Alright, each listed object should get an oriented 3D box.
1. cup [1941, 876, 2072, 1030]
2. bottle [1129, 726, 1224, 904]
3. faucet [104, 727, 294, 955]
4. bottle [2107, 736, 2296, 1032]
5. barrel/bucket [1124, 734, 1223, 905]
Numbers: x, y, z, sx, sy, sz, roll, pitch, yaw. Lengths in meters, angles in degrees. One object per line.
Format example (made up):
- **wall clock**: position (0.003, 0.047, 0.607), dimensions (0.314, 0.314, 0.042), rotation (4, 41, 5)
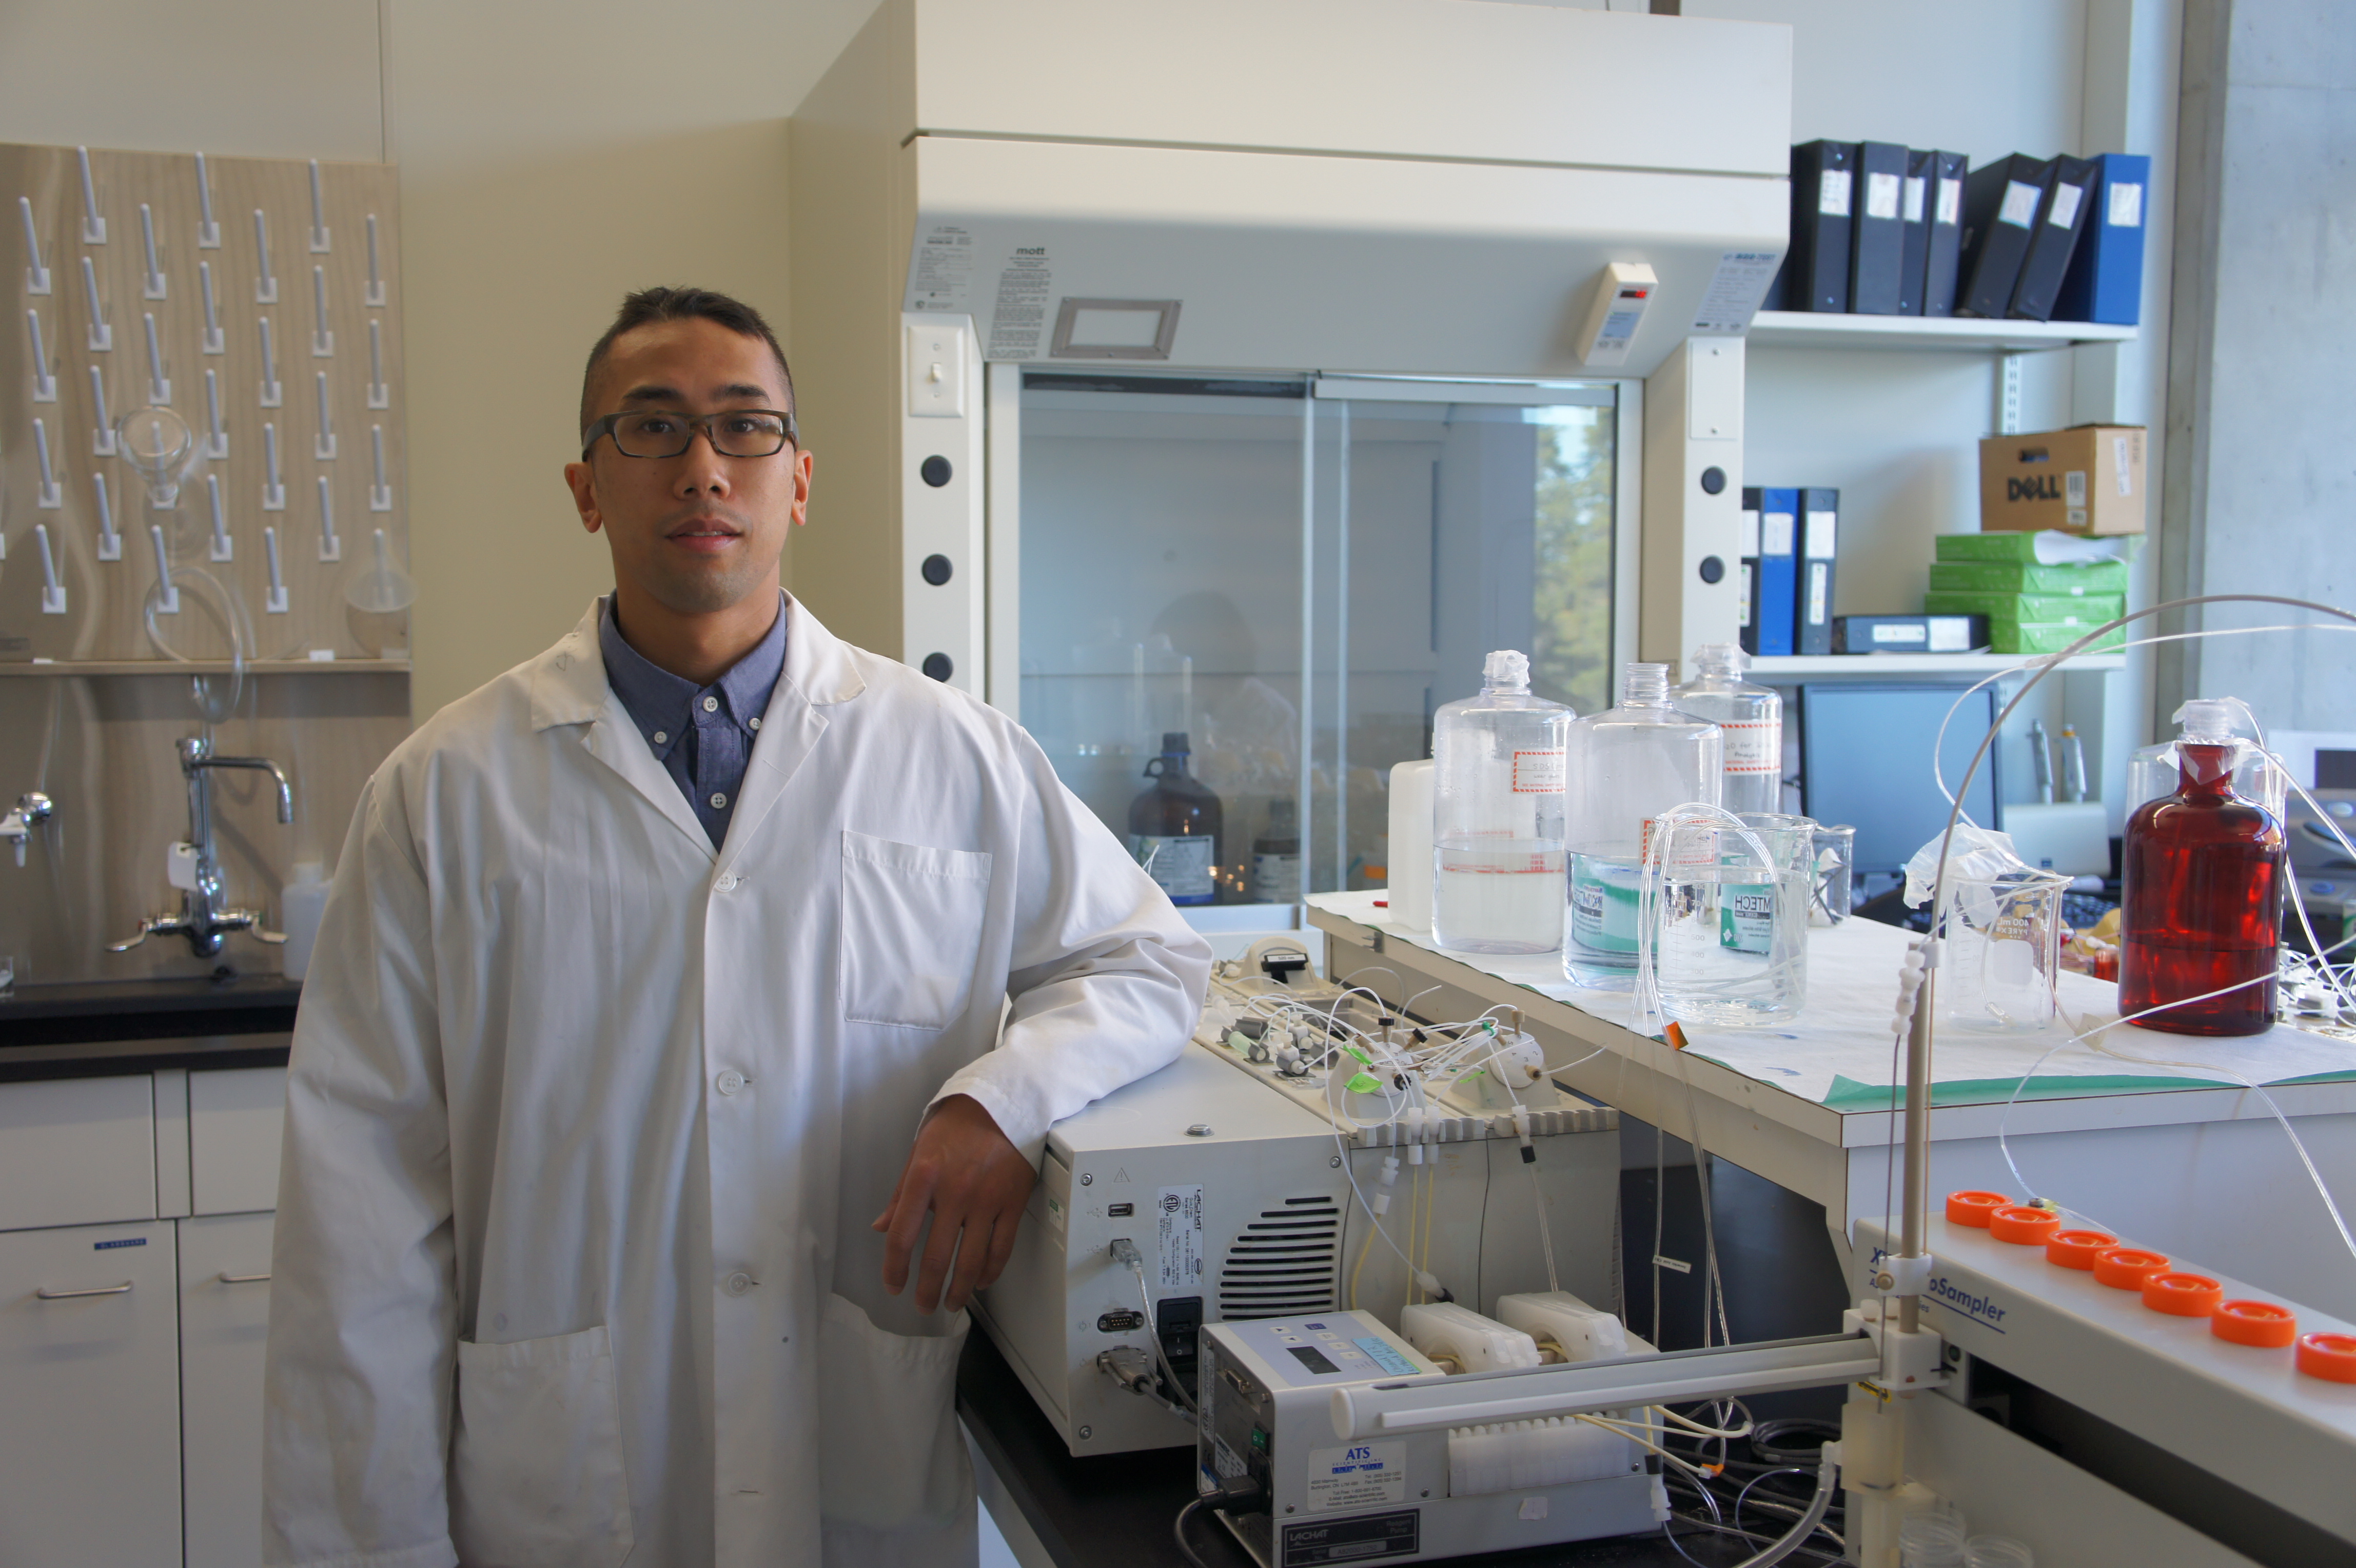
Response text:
- **cup**: position (1.076, 0.210, 2.525), dimensions (0.229, 0.181, 0.116), rotation (-4, 5, -18)
- **bottle**: position (0.009, 0.107, 4.249), dimensions (0.181, 0.414, 0.124), rotation (-4, -19, -2)
- **faucet**: position (-1.945, 0.142, 3.948), dimensions (0.309, 0.440, 0.271), rotation (2, 5, 42)
- **bottle**: position (1.293, 0.131, 2.516), dimensions (0.199, 0.386, 0.202), rotation (-2, 9, 0)
- **barrel/bucket**: position (0.005, 0.102, 4.258), dimensions (0.216, 0.401, 0.140), rotation (1, -23, -8)
